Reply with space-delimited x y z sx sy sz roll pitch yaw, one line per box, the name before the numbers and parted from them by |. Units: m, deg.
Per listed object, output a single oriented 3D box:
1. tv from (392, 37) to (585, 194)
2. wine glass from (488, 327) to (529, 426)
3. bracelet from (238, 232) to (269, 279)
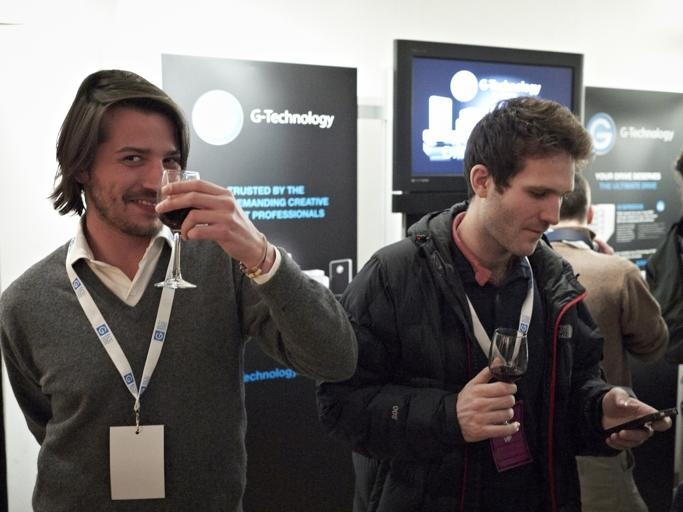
tv | 0.731 -0.749 3.358 1.088 0.815 0.111 0 1 -23
wine glass | 0.622 0.369 2.314 0.124 0.190 0.138 0 9 28
bracelet | -0.289 -0.004 2.102 0.037 0.134 0.106 11 -2 -32
